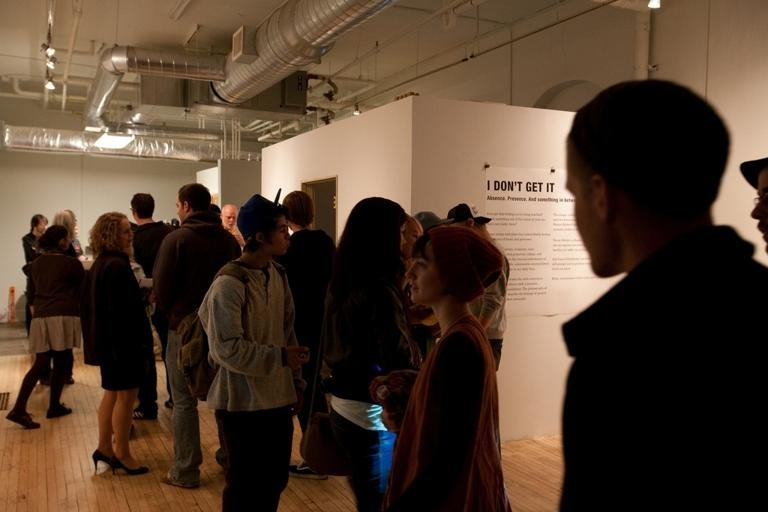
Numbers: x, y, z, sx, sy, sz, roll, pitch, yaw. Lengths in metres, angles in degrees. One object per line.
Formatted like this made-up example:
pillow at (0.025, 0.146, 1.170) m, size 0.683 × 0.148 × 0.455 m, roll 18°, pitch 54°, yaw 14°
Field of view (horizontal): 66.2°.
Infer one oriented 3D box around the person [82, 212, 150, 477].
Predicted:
person at (-2.123, 0.691, 4.682) m, size 0.569 × 2.033 × 0.398 m, roll 5°, pitch 7°, yaw 45°

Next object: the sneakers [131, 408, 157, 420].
sneakers at (-2.384, 1.581, 5.991) m, size 0.278 × 0.123 × 0.105 m, roll 7°, pitch -1°, yaw -3°

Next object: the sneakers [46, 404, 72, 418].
sneakers at (-3.287, 1.556, 6.000) m, size 0.218 × 0.095 × 0.113 m, roll -5°, pitch 6°, yaw -39°

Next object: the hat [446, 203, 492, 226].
hat at (0.612, -0.307, 4.317) m, size 0.342 × 0.146 × 0.306 m, roll -2°, pitch 1°, yaw -23°

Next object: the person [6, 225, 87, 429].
person at (-3.335, 0.673, 5.874) m, size 0.636 × 1.916 × 0.761 m, roll -2°, pitch 5°, yaw -18°

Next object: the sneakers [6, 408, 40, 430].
sneakers at (-3.469, 1.568, 5.688) m, size 0.246 × 0.107 × 0.092 m, roll 33°, pitch 3°, yaw -28°
